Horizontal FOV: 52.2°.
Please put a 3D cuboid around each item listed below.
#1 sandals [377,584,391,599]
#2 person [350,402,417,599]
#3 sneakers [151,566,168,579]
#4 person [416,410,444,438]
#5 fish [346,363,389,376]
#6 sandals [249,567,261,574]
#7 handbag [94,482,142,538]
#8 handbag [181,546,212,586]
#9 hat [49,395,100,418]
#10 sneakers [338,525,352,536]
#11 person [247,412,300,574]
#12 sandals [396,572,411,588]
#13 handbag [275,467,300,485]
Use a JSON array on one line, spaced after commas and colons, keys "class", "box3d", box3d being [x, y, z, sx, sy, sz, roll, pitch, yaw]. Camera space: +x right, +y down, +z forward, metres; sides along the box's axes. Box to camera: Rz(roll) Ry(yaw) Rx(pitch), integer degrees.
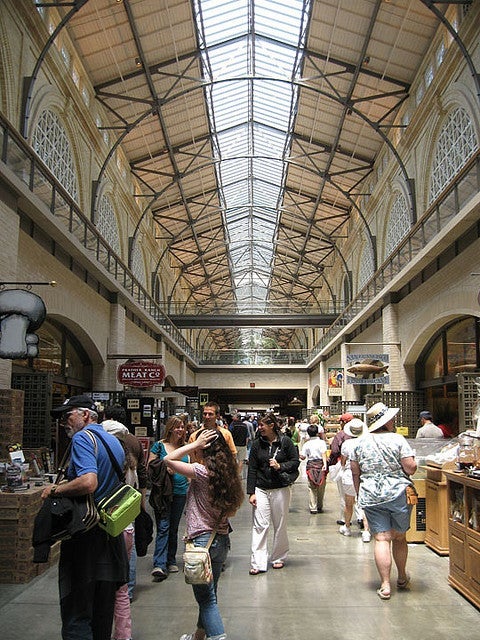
[{"class": "sandals", "box3d": [1.348, 2.523, 4.567, 0.082, 0.077, 0.181, 1, -2, 7]}, {"class": "person", "box3d": [1.407, 1.718, 4.758, 0.519, 1.763, 0.557, -2, -15, 6]}, {"class": "sneakers", "box3d": [-0.865, 2.729, 5.265, 0.078, 0.087, 0.204, -6, -20, 4]}, {"class": "person", "box3d": [4.312, 2.381, 11.186, 0.493, 0.658, 1.637, -5, -16, 19]}, {"class": "fish", "box3d": [4.486, 1.710, 16.942, 1.111, 0.454, 0.326, 3, -19, -15]}, {"class": "sandals", "box3d": [0.166, 2.852, 5.531, 0.159, 0.057, 0.165, -2, -15, 7]}, {"class": "handbag", "box3d": [-0.622, 0.971, 2.508, 0.107, 0.195, 0.201, 22, 34, 21]}, {"class": "handbag", "box3d": [-0.251, 1.413, 2.838, 0.164, 0.222, 0.128, 3, 10, 19]}, {"class": "hat", "box3d": [-0.873, 0.443, 2.631, 0.259, 0.140, 0.167, 7, -22, -14]}, {"class": "sneakers", "box3d": [1.698, 3.388, 7.849, 0.119, 0.116, 0.265, 1, -2, -1]}, {"class": "person", "box3d": [0.396, 2.017, 5.697, 0.586, 1.751, 0.922, -1, -15, 3]}, {"class": "sandals", "box3d": [1.627, 2.597, 4.858, 0.071, 0.093, 0.214, -2, 2, 14]}, {"class": "handbag", "box3d": [0.568, 1.825, 5.685, 0.224, 0.230, 0.168, -24, -46, 26]}]
